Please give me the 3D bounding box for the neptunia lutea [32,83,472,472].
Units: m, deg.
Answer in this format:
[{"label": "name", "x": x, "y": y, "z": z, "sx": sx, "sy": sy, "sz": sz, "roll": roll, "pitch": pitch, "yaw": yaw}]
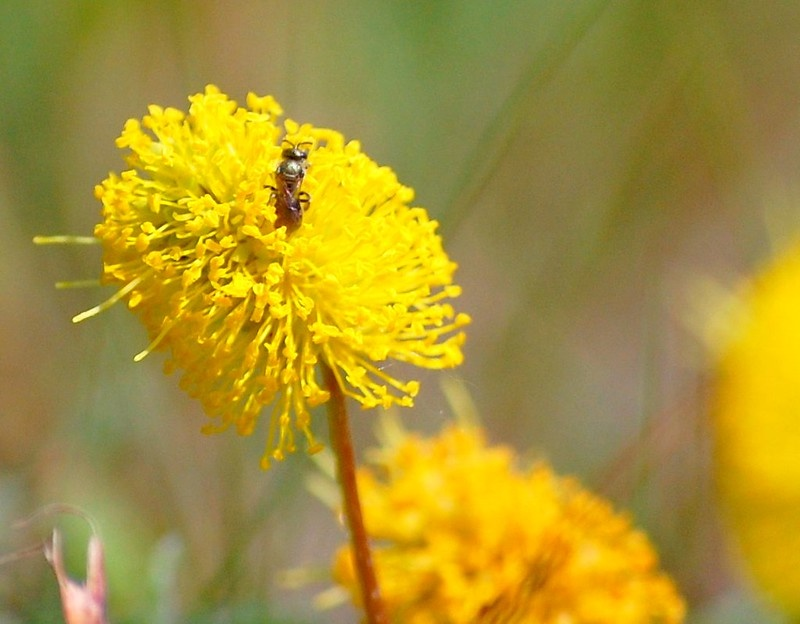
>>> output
[{"label": "neptunia lutea", "x": -0.112, "y": -0.036, "z": 0.685, "sx": 0.317, "sy": 0.244, "sz": 0.303, "roll": 32, "pitch": -37, "yaw": -34}]
